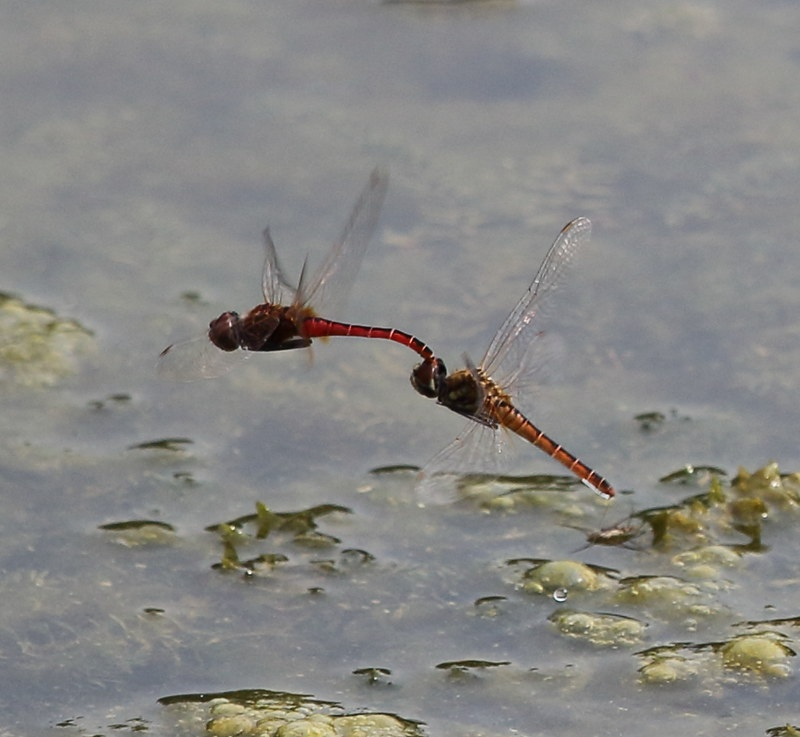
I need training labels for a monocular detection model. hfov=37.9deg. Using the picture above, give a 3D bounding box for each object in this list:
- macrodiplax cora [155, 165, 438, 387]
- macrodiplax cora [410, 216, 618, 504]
[{"bbox_3d":[-0.591,-0.332,5.839,1.714,1.040,0.675,-11,11,-13],"label":"macrodiplax cora"},{"bbox_3d":[0.603,-0.077,6.406,1.070,1.306,1.023,6,26,-3],"label":"macrodiplax cora"}]
